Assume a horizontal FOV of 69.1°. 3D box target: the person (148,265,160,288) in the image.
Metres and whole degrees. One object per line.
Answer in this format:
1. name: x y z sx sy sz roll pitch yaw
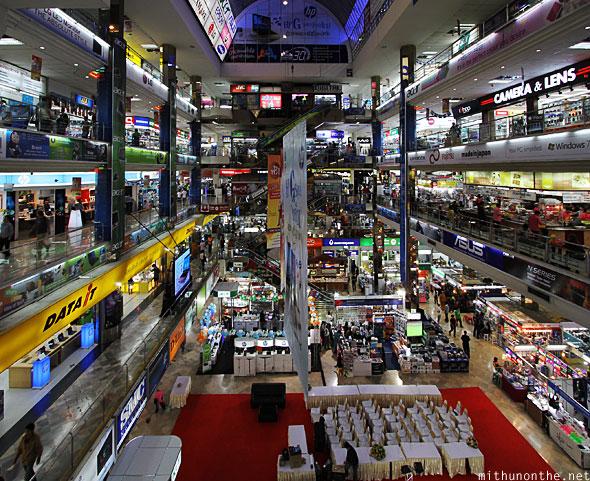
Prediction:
1. person: -5.368 1.312 16.457 0.368 0.681 1.290 1 12 -18

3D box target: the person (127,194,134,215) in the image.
1. person: -6.810 -1.509 17.639 0.213 0.557 0.845 1 12 -18

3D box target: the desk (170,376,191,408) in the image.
1. desk: -3.480 4.598 13.119 0.363 0.251 0.804 6 28 0

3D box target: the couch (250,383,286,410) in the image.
1. couch: -0.813 4.923 12.928 1.015 0.780 0.555 0 -5 -1

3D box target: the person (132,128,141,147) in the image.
1. person: -5.257 -3.396 14.222 0.235 0.503 1.418 0 13 -19
